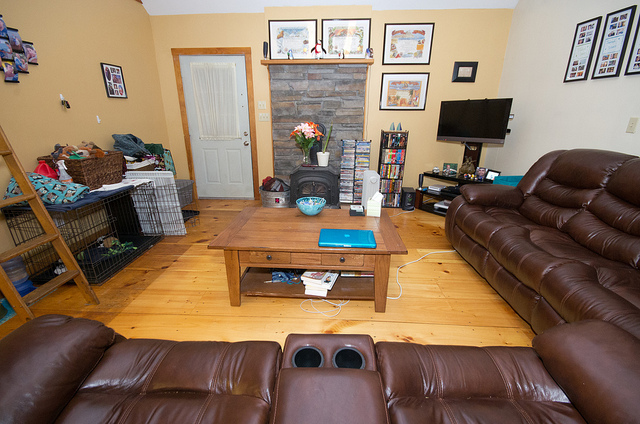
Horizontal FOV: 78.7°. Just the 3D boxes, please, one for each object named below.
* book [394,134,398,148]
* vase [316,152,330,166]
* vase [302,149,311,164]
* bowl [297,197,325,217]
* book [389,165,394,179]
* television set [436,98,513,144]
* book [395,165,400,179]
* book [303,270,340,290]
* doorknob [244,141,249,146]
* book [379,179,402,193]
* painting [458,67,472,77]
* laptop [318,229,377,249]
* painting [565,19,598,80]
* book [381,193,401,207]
[{"bbox_3d":[1.052,-0.981,5.397,0.043,0.181,0.020,4,22,9],"label":"book"},{"bbox_3d":[0.037,-0.682,5.056,0.172,0.128,0.169,0,10,0],"label":"vase"},{"bbox_3d":[-0.172,-0.743,5.182,0.091,0.201,0.131,0,21,-1],"label":"vase"},{"bbox_3d":[-0.082,-0.059,3.938,0.208,0.102,0.202,-2,16,0],"label":"bowl"},{"bbox_3d":[1.016,-0.566,5.530,0.051,0.201,0.018,4,22,9],"label":"book"},{"bbox_3d":[2.036,-1.181,5.071,0.071,0.440,0.699,-17,23,-40],"label":"television set"},{"bbox_3d":[1.092,-0.560,5.525,0.058,0.194,0.011,1,22,1],"label":"book"},{"bbox_3d":[0.073,0.638,3.678,0.200,0.047,0.197,6,37,20],"label":"book"},{"bbox_3d":[-1.094,-1.021,5.769,0.062,0.059,0.015,-1,6,-1],"label":"doorknob"},{"bbox_3d":[1.017,-0.371,5.591,0.307,0.198,0.062,0,22,-3],"label":"book"},{"bbox_3d":[2.002,-1.934,5.387,0.143,0.122,0.035,0,10,-2],"label":"painting"},{"bbox_3d":[0.244,0.231,3.550,0.509,0.074,0.320,1,20,2],"label":"laptop"},{"bbox_3d":[2.824,-1.747,4.211,0.095,0.584,0.249,-8,23,-19],"label":"painting"},{"bbox_3d":[1.013,-0.174,5.541,0.230,0.207,0.077,2,13,7],"label":"book"}]
